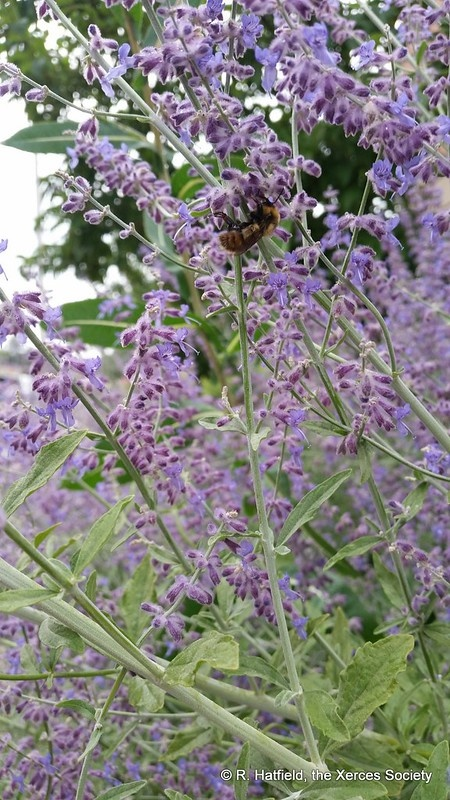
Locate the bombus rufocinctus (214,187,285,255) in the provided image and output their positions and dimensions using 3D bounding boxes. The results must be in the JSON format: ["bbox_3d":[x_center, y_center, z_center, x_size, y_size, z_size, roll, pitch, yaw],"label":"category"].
[{"bbox_3d":[0.036,-0.250,1.094,0.091,0.066,0.028,-33,15,37],"label":"bombus rufocinctus"}]
